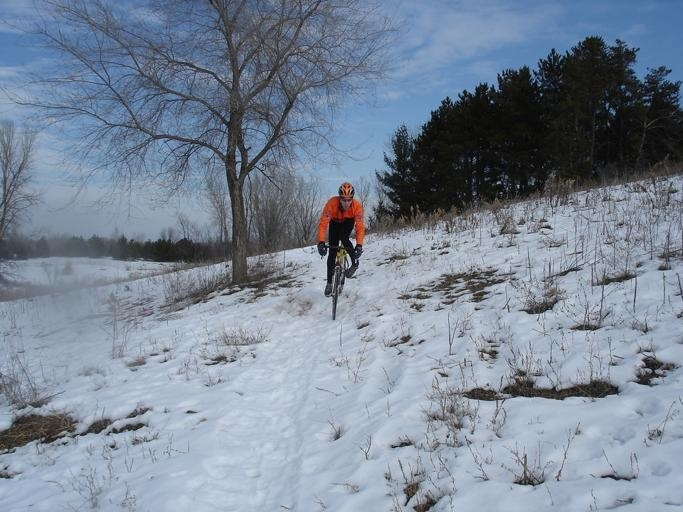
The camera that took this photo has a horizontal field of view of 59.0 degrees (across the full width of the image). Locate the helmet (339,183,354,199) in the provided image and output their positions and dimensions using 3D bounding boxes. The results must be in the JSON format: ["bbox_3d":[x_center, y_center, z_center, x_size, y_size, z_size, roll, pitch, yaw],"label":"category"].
[{"bbox_3d":[0.117,-1.466,13.632,0.318,0.388,0.494,-8,9,0],"label":"helmet"}]

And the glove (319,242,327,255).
[{"bbox_3d":[-0.426,-0.176,13.673,0.159,0.287,0.161,-4,-2,-5],"label":"glove"}]

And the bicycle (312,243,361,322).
[{"bbox_3d":[-0.043,0.474,14.554,0.556,1.716,1.269,-6,8,0],"label":"bicycle"}]

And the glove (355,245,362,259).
[{"bbox_3d":[0.398,-0.132,13.915,0.147,0.284,0.333,-6,9,5],"label":"glove"}]
